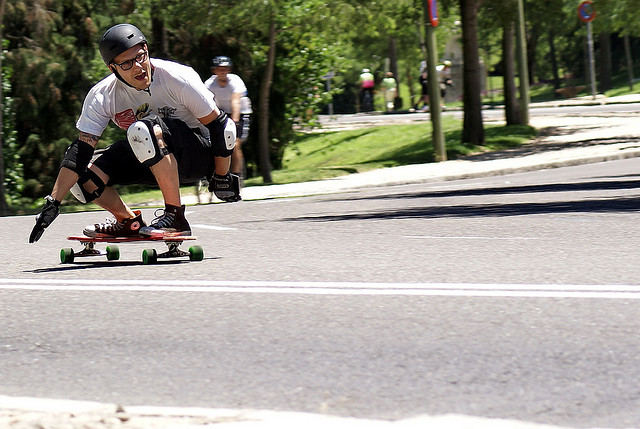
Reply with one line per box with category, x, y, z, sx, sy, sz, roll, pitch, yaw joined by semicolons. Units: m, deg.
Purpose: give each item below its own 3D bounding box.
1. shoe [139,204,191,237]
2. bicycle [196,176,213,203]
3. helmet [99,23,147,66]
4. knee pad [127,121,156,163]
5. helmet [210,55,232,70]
shoe;-1.491;0.068;5.771;0.258;0.276;0.597;6;6;40
bicycle;-2.001;-0.386;10.482;0.326;0.284;1.124;10;-1;-9
helmet;-1.847;-1.588;5.668;0.417;0.394;0.244;-6;7;-13
knee pad;-1.654;-0.663;5.588;0.303;0.323;0.115;-12;16;29
helmet;-2.066;-3.163;12.712;0.345;0.278;0.275;-6;7;-18
